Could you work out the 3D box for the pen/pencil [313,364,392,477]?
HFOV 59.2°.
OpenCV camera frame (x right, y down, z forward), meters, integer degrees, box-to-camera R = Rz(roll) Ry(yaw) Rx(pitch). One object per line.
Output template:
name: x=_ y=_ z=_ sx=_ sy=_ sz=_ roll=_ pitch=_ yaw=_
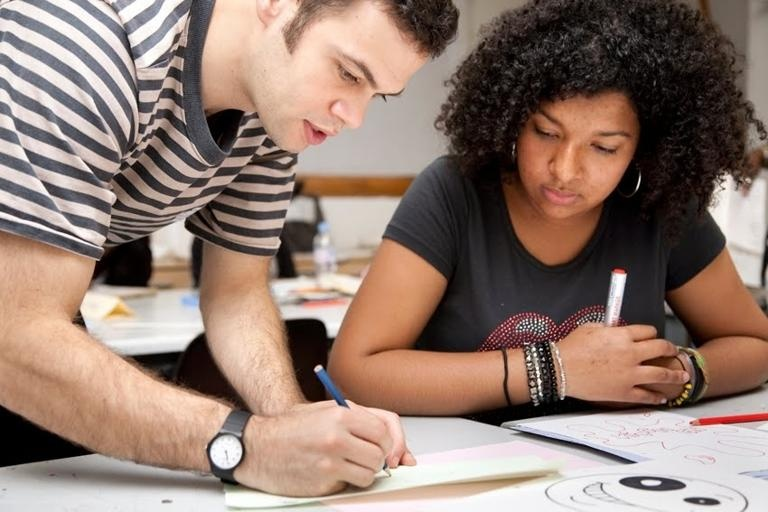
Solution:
pen/pencil: x=-0.052 y=0.309 z=1.264 sx=0.029 sy=0.218 sz=0.023 roll=-36 pitch=0 yaw=23
